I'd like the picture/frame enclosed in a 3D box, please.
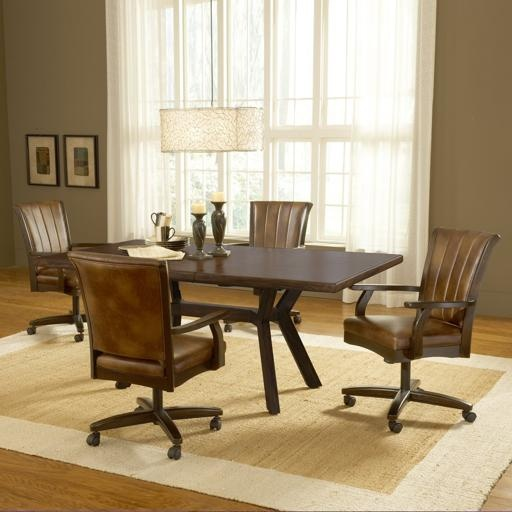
[{"bbox_3d":[-2.486,-1.245,6.562,0.888,0.482,0.038,3,6,19],"label":"picture/frame"}]

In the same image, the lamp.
[{"bbox_3d":[-0.231,-1.098,3.412,0.870,1.158,0.402,2,7,18],"label":"lamp"}]

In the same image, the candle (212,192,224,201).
[{"bbox_3d":[-0.231,-0.360,3.071,0.060,0.040,0.059,4,6,32],"label":"candle"}]
